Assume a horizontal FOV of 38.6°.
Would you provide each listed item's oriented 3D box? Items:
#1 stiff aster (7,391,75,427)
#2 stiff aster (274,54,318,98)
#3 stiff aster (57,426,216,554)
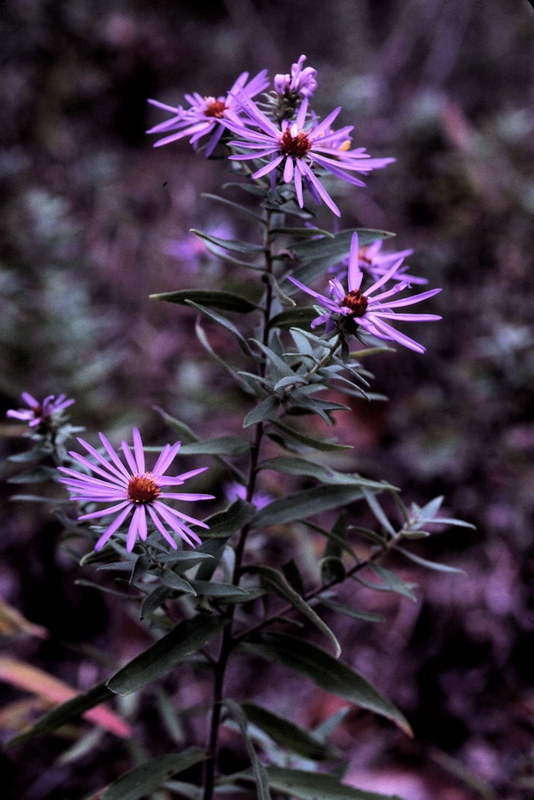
[{"bbox_3d":[-0.337,0.015,1.127,0.069,0.028,0.065,-6,15,21],"label":"stiff aster"},{"bbox_3d":[0.041,-0.350,0.842,0.058,0.051,0.042,-1,13,11],"label":"stiff aster"},{"bbox_3d":[-0.148,0.102,0.879,0.161,0.130,0.293,6,-2,-10],"label":"stiff aster"}]
